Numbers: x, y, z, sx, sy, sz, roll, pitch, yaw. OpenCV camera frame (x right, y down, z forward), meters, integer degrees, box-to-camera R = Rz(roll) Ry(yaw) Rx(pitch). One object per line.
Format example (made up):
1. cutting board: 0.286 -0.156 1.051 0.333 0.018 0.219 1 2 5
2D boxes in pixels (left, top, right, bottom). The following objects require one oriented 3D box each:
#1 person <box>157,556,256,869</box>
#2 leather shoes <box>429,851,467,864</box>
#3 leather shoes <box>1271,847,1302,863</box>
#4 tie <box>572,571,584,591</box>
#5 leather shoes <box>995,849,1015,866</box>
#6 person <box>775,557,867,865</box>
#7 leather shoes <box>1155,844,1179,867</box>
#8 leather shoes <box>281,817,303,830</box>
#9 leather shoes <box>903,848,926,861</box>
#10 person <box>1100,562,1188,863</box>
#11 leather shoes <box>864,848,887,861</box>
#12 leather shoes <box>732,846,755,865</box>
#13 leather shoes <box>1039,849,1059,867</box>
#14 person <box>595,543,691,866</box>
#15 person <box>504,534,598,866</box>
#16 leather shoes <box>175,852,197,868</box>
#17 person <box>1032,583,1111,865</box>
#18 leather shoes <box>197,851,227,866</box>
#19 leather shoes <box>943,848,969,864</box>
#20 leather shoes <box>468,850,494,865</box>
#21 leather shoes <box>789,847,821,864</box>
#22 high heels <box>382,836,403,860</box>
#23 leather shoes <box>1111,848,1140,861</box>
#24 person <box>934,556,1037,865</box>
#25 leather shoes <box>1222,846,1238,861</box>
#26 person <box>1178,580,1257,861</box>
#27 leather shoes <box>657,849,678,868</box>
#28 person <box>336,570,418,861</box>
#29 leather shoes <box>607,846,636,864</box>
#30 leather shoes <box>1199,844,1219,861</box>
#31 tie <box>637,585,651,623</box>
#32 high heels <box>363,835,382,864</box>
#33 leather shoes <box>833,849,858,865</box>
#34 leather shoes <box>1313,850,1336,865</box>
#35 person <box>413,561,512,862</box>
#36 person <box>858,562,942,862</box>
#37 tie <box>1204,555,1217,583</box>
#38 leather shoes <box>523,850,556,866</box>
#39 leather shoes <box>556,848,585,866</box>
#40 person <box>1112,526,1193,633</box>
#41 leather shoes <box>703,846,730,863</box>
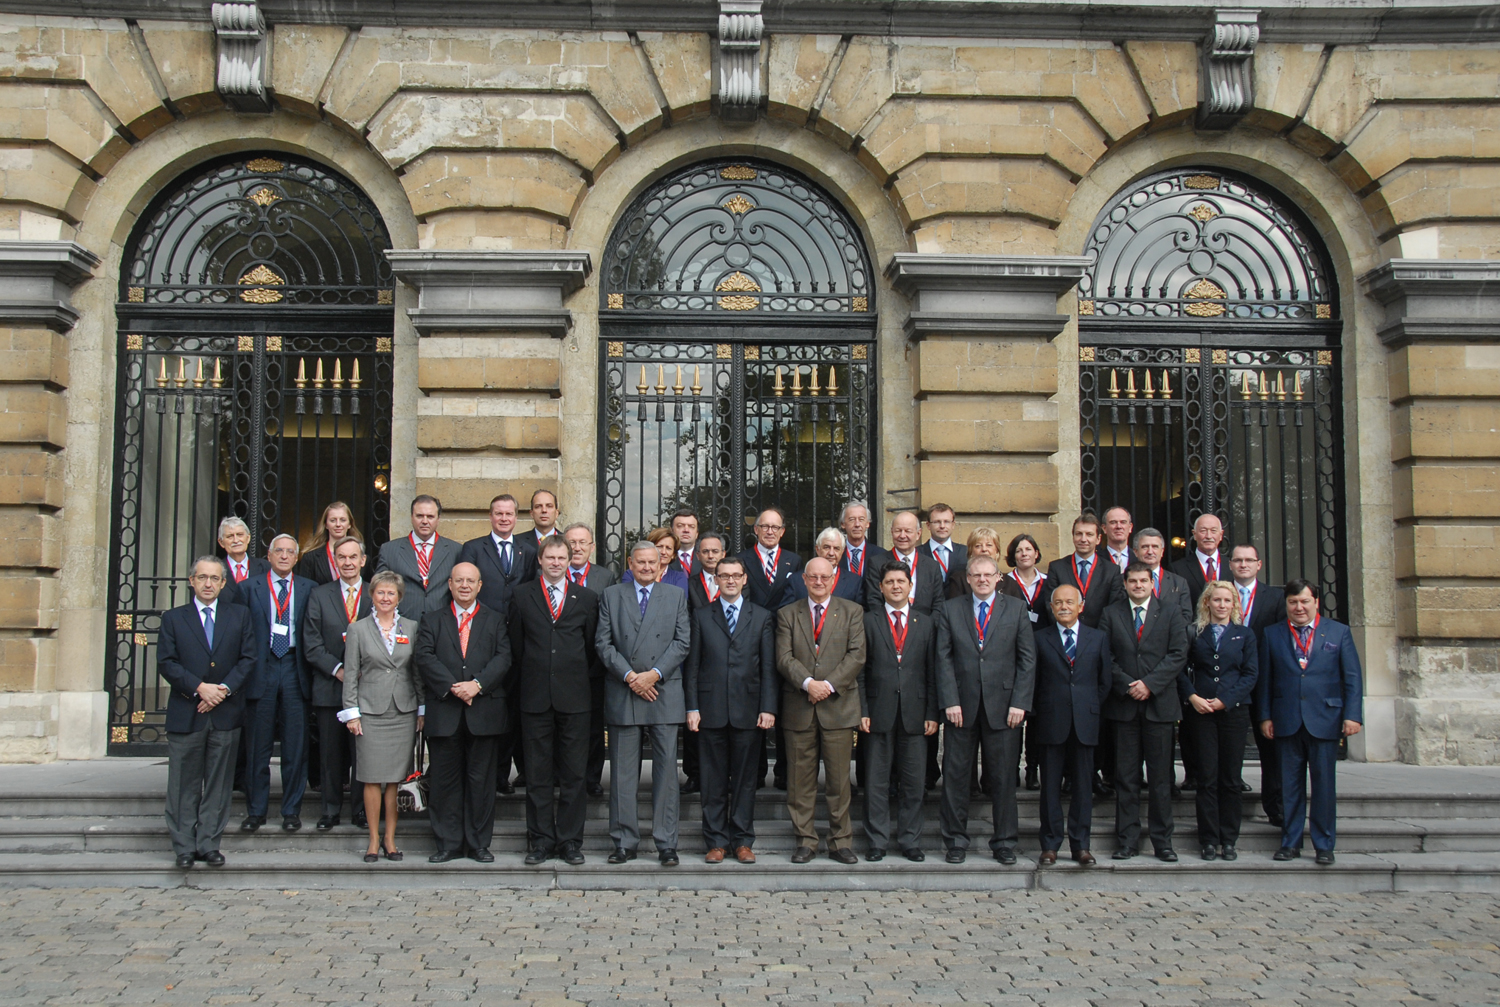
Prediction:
1. person: -5.007 1.934 19.457 0.854 2.846 0.314 0 -5 -14
2. leather shoes: -2.792 3.262 19.420 0.299 0.114 0.114 13 -11 -38
3. leather shoes: 4.962 3.283 19.620 0.268 0.102 0.101 8 -15 -28
4. tie: -1.632 0.708 19.957 0.145 0.149 0.062 -1 -19 -15
5. leather shoes: 2.320 3.267 19.483 0.226 0.155 0.185 -2 -5 15
6. person: 0.647 1.918 19.592 0.847 2.812 0.413 -1 -5 0
7. leather shoes: 3.810 3.257 19.466 0.176 0.110 0.300 -1 -6 -8
8. leather shoes: -4.305 3.010 19.800 0.191 0.151 0.146 1 -5 -17
9. leather shoes: 1.505 3.255 19.489 0.205 0.122 0.221 -1 -5 2
10. person: 3.681 1.936 19.639 0.749 2.786 0.323 -2 -5 9
11. leather shoes: 1.163 3.258 19.526 0.257 0.124 0.230 0 -5 -12
12. leather shoes: -0.072 3.245 19.459 0.193 0.163 0.202 0 -5 -7
13. leather shoes: 2.729 3.267 19.428 0.166 0.146 0.352 0 -2 12
14. person: -0.996 1.850 19.590 0.872 2.990 0.362 -1 -5 -2
15. person: -1.826 1.828 19.608 0.793 3.017 0.326 0 -5 -6
16. leather shoes: -5.164 3.264 19.302 0.140 0.134 0.166 3 -13 -3
17. person: 2.952 2.057 19.588 0.691 2.584 0.302 -2 -5 8
18. leather shoes: -4.944 3.258 19.380 0.250 0.148 0.151 1 -5 -18
19. leather shoes: 1.881 3.247 19.496 0.204 0.162 0.274 -1 -5 5
20. leather shoes: -2.475 3.251 19.418 0.240 0.113 0.187 0 -5 -8
21. leather shoes: 0.519 3.255 19.564 0.188 0.160 0.408 -5 -6 39
22. high heels: -3.300 3.225 19.481 0.096 0.108 0.274 6 -20 -26
23. leather shoes: 3.476 3.252 19.571 0.341 0.102 0.147 2 -6 -31
24. person: 2.193 1.907 19.624 0.908 2.869 0.322 -1 -5 4
25. leather shoes: 4.445 3.237 19.599 0.106 0.144 0.265 -4 -6 37
26. person: 4.367 2.027 19.676 0.696 2.570 0.323 -2 -5 11
27. leather shoes: -0.772 3.262 19.376 0.136 0.100 0.253 2 -10 -10
28. person: -3.424 1.978 19.545 0.716 2.667 0.359 0 -5 -7
29. leather shoes: -1.205 3.263 19.518 0.111 0.105 0.270 -6 -15 24
30. leather shoes: 4.228 3.234 19.552 0.175 0.141 0.125 -2 -5 10
31. tie: -0.993 0.905 19.578 0.178 0.275 0.062 0 -13 -4
32. high heels: -3.484 3.193 19.442 0.161 0.223 0.488 1 -14 -8
33. leather shoes: 0.853 3.265 19.469 0.256 0.127 0.187 -1 -5 2
34. leather shoes: 5.291 3.280 19.529 0.170 0.140 0.216 -2 -5 16
35. person: -2.652 1.928 19.500 0.848 2.768 0.365 0 -5 -7
36. person: 1.336 1.884 19.856 0.942 2.463 0.654 -1 12 3
37. tie: 4.473 0.648 20.557 0.130 0.205 0.211 -3 -5 22
38. leather shoes: -1.935 3.262 19.419 0.307 0.139 0.135 2 -6 -33
39. leather shoes: -1.657 3.259 19.429 0.215 0.154 0.194 0 -5 -5
40. person: 3.796 0.757 20.172 0.765 1.184 0.628 -6 -30 12
41. leather shoes: -0.318 3.254 19.438 0.234 0.137 0.175 1 -5 -17
